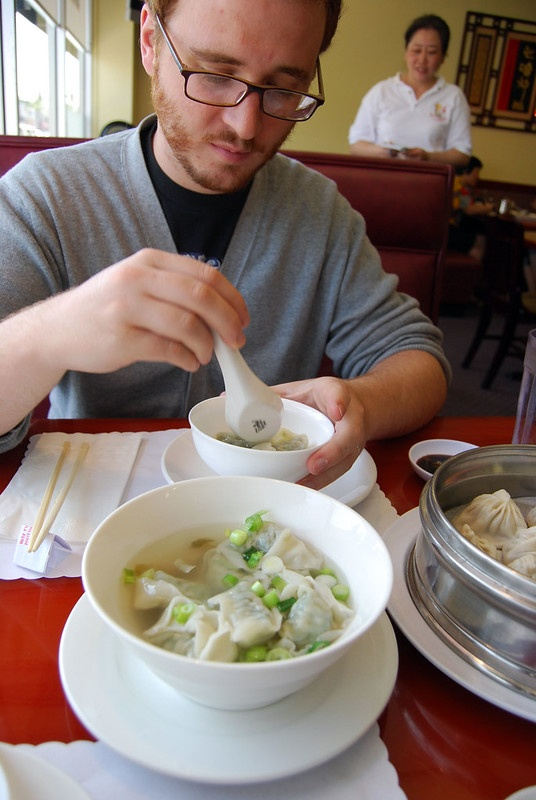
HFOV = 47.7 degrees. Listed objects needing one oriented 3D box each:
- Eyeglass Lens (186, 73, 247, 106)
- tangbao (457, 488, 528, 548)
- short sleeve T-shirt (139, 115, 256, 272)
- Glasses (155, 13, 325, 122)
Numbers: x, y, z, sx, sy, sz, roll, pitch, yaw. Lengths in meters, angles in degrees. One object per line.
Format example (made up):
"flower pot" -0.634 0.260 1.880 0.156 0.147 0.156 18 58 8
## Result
"Eyeglass Lens" -0.097 -0.559 1.093 0.122 0.050 0.065 10 21 4
"tangbao" 0.292 0.155 0.794 0.088 0.040 0.076 -26 38 -21
"short sleeve T-shirt" -0.166 -0.482 1.422 0.229 0.397 0.202 9 -23 -19
"Glasses" -0.002 -0.639 1.197 0.402 0.152 0.228 -6 25 -34
